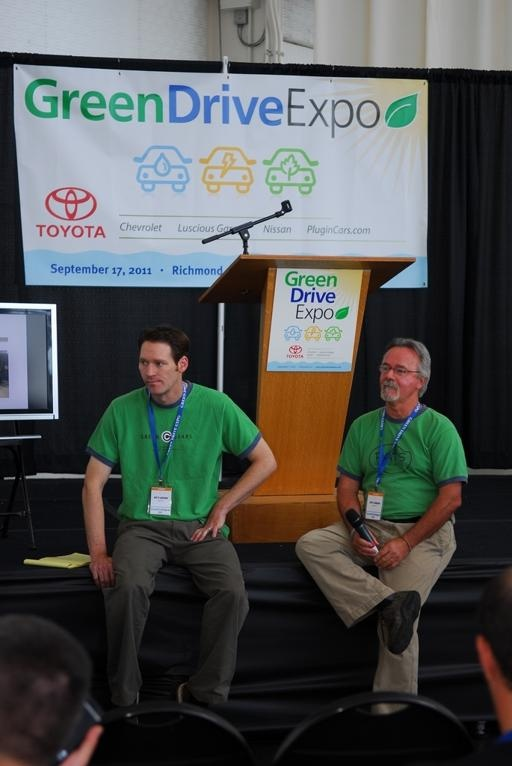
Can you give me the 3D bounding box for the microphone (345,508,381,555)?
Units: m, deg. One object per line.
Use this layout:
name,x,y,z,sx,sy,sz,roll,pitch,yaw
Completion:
microphone,0.351,0.486,2.379,0.058,0.096,0.167,-10,18,-20

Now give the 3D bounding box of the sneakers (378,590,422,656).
sneakers,0.432,0.700,2.140,0.152,0.073,0.215,5,57,0

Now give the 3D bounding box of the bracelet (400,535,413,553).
bracelet,0.479,0.514,2.293,0.012,0.046,0.036,-37,16,10

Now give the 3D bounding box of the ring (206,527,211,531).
ring,-0.154,0.476,2.339,0.003,0.010,0.012,2,2,43

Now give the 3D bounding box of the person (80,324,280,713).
person,-0.207,0.462,2.314,0.666,1.165,0.784,-8,18,-14

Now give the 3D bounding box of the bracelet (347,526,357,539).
bracelet,0.321,0.505,2.415,0.038,0.034,0.033,-2,-2,12
